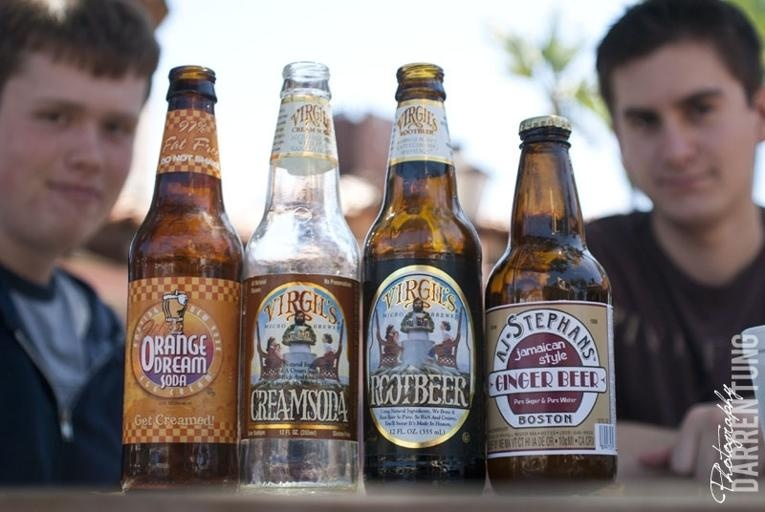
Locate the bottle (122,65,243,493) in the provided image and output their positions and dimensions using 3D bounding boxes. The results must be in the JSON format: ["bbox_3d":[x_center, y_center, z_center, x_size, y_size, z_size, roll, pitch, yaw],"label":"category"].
[{"bbox_3d":[-0.367,0.029,1.811,0.206,0.800,0.088,1,-12,-13],"label":"bottle"}]

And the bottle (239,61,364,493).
[{"bbox_3d":[-0.146,0.030,1.809,0.235,0.805,0.153,1,-12,-13],"label":"bottle"}]
